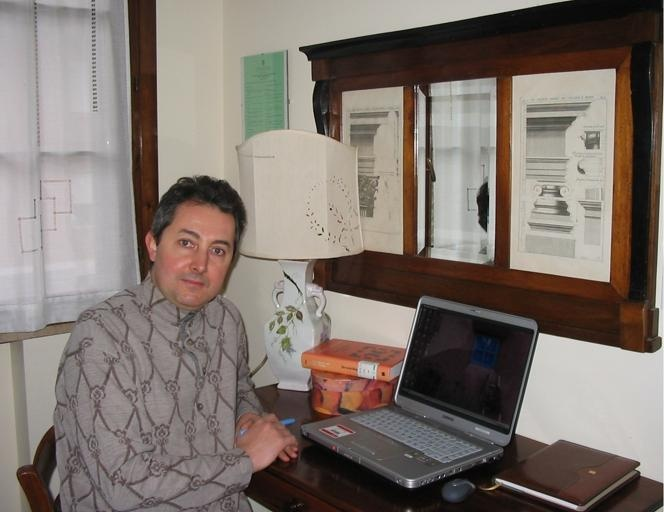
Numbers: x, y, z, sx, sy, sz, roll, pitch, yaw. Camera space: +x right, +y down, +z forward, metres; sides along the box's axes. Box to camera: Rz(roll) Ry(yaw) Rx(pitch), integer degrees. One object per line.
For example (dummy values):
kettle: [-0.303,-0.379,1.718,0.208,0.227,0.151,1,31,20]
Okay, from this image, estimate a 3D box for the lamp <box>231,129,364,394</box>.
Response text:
lamp: [-0.119,0.021,1.893,0.386,0.873,0.462,3,8,32]

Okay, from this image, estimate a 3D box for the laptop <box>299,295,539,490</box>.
laptop: [0.261,0.368,1.452,0.463,0.375,0.436,-1,6,-37]
